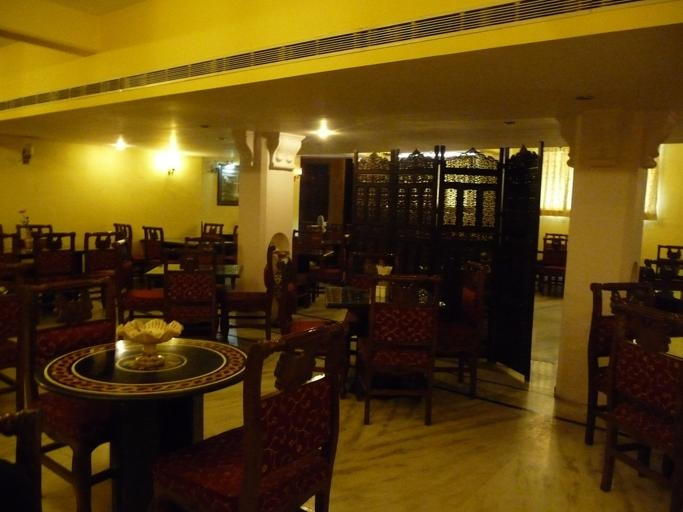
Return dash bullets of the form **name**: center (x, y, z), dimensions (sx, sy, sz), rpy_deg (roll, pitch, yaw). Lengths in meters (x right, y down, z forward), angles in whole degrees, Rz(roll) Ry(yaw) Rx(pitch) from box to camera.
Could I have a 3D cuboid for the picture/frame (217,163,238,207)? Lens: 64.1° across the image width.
- **picture/frame**: center (-2.448, -1.540, 11.666), dimensions (0.448, 0.904, 0.137), rpy_deg (5, 9, 12)
